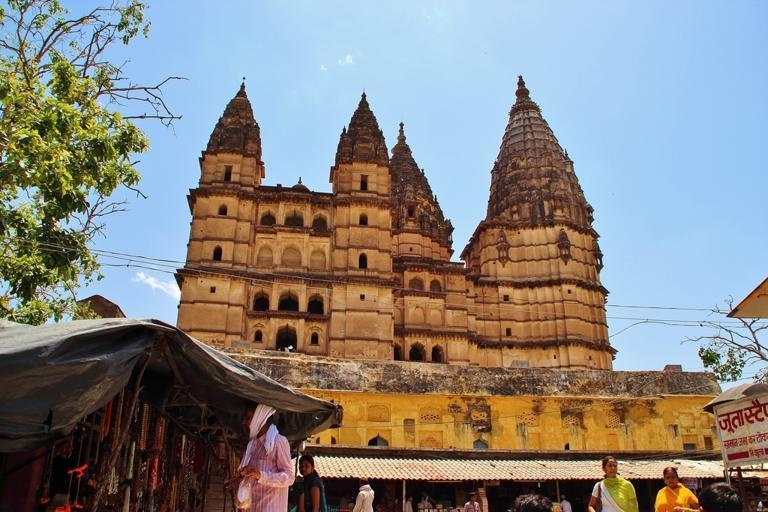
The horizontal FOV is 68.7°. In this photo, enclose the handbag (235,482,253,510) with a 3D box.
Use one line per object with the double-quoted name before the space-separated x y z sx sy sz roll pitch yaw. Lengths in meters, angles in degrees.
"handbag" -1.354 2.293 5.441 0.151 0.231 0.298 6 -29 -12
